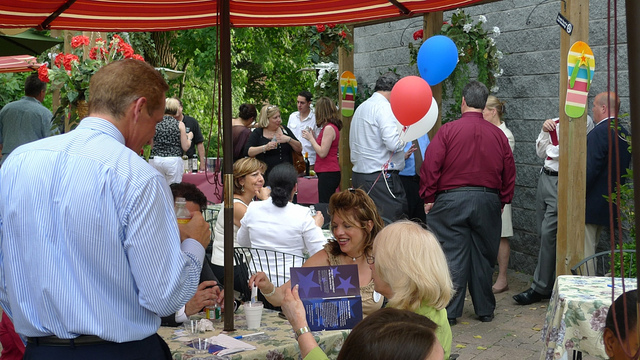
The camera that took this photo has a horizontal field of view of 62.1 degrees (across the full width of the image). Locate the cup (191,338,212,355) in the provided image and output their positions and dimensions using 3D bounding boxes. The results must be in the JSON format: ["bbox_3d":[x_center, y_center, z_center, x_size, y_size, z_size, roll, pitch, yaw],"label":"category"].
[{"bbox_3d":[-0.762,1.073,3.418,0.090,0.066,0.094,1,-7,0],"label":"cup"}]

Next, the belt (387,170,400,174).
[{"bbox_3d":[0.983,-0.104,7.095,0.224,0.047,0.037,-3,1,-41],"label":"belt"}]

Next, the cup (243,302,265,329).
[{"bbox_3d":[-0.468,0.964,3.762,0.150,0.162,0.156,0,-5,0],"label":"cup"}]

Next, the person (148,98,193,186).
[{"bbox_3d":[-2.503,-0.389,8.704,0.603,1.932,0.611,10,15,-1],"label":"person"}]

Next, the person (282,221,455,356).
[{"bbox_3d":[0.268,0.539,3.474,1.010,0.995,0.672,-17,16,-23],"label":"person"}]

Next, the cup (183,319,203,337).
[{"bbox_3d":[-0.869,1.031,3.681,0.097,0.079,0.114,-1,-10,-1],"label":"cup"}]

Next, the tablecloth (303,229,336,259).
[{"bbox_3d":[-0.024,0.563,4.581,0.262,0.266,0.099,-1,15,-8],"label":"tablecloth"}]

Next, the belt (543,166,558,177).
[{"bbox_3d":[2.938,-0.105,6.818,0.032,0.098,0.202,-2,0,-33],"label":"belt"}]

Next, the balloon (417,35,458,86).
[{"bbox_3d":[1.496,-1.624,6.987,0.582,0.703,0.562,7,29,34],"label":"balloon"}]
